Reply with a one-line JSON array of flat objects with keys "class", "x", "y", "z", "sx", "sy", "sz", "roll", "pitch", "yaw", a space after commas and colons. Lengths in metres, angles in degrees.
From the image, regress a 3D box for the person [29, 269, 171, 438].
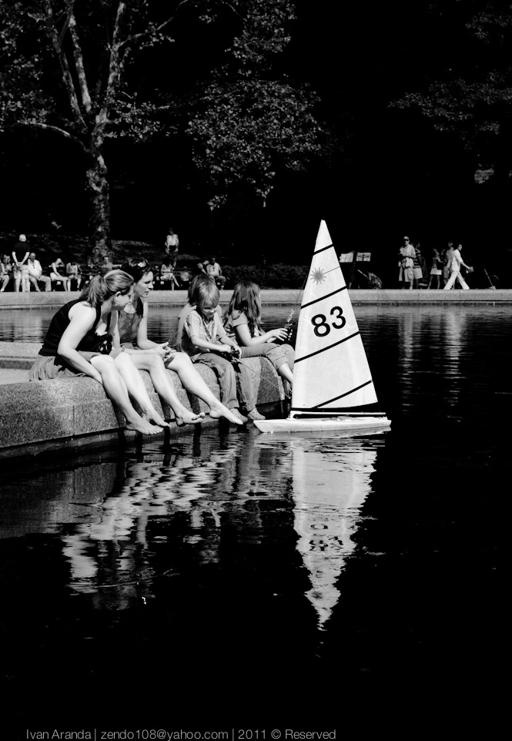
[{"class": "person", "x": -1.093, "y": -0.139, "z": 8.982, "sx": 0.861, "sy": 1.104, "sz": 0.649, "roll": 4, "pitch": 6, "yaw": 41}]
